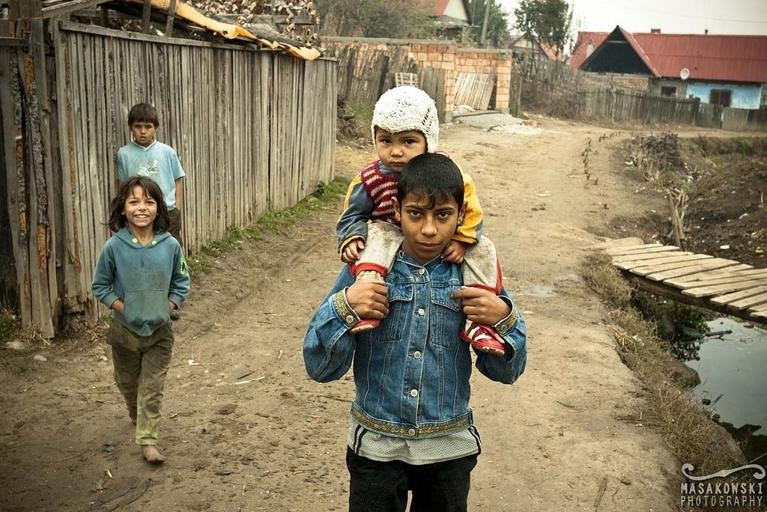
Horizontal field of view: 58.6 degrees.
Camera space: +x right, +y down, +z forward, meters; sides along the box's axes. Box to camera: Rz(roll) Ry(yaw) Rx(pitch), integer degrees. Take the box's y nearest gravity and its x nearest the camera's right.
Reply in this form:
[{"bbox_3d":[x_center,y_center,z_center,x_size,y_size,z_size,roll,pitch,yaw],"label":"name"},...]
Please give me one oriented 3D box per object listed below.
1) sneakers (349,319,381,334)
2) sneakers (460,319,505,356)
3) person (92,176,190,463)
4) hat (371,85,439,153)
[{"bbox_3d":[-0.119,0.450,4.491,0.200,0.087,0.077,-25,3,-5],"label":"sneakers"},{"bbox_3d":[0.653,0.547,4.613,0.326,0.157,0.161,27,16,37],"label":"sneakers"},{"bbox_3d":[-2.289,0.568,6.303,0.749,2.517,0.737,6,17,8],"label":"person"},{"bbox_3d":[0.180,-0.981,4.895,0.427,0.383,0.462,3,17,11],"label":"hat"}]
